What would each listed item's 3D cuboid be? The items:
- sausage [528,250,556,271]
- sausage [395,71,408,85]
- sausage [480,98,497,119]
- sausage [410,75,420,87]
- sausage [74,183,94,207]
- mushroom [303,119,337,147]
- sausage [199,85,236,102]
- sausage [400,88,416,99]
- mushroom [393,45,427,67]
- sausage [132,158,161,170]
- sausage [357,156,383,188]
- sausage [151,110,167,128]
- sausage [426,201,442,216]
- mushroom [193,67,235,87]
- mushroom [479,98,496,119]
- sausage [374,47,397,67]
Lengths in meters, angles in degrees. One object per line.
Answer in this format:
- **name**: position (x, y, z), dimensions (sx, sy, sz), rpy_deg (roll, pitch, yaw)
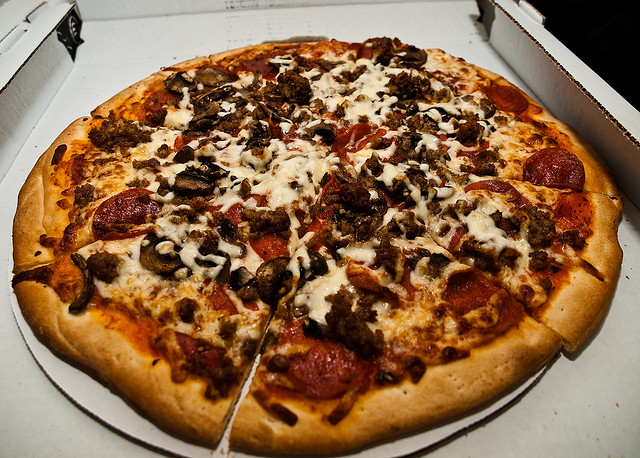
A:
- **sausage**: position (1.816, 0.260, 4.821), dimensions (0.167, 0.045, 0.160), rpy_deg (20, 88, -4)
- **sausage**: position (0.837, -1.548, 5.975), dimensions (0.097, 0.038, 0.144), rpy_deg (17, 66, 32)
- **sausage**: position (1.687, -1.218, 5.894), dimensions (0.182, 0.060, 0.183), rpy_deg (-31, 64, -11)
- **sausage**: position (0.973, -1.521, 5.955), dimensions (0.101, 0.096, 0.030), rpy_deg (14, 20, -15)
- **sausage**: position (-2.089, -0.307, 5.152), dimensions (0.156, 0.084, 0.190), rpy_deg (3, 29, -7)
- **mushroom**: position (0.047, -0.925, 5.684), dimensions (0.286, 0.307, 0.089), rpy_deg (24, 42, -5)
- **sausage**: position (-1.043, -1.394, 5.935), dimensions (0.343, 0.093, 0.126), rpy_deg (-33, 69, -16)
- **sausage**: position (0.917, -1.386, 5.993), dimensions (0.109, 0.031, 0.111), rpy_deg (-34, 99, 5)
- **mushroom**: position (1.040, -1.956, 6.554), dimensions (0.304, 0.083, 0.303), rpy_deg (-16, 44, -27)
- **sausage**: position (-1.594, -0.598, 5.311), dimensions (0.183, 0.052, 0.105), rpy_deg (6, 43, 6)
- **sausage**: position (0.454, -0.517, 5.245), dimensions (0.195, 0.079, 0.309), rpy_deg (22, 72, 18)
- **sausage**: position (-1.582, -1.082, 5.845), dimensions (0.165, 0.055, 0.166), rpy_deg (34, 70, 34)
- **sausage**: position (0.987, -0.183, 5.057), dimensions (0.100, 0.035, 0.105), rpy_deg (4, 49, 10)
- **mushroom**: position (-1.145, -1.620, 6.215), dimensions (0.299, 0.083, 0.234), rpy_deg (-13, 44, -35)
- **mushroom**: position (1.691, -1.240, 5.871), dimensions (0.193, 0.063, 0.193), rpy_deg (13, 58, 20)
- **sausage**: position (0.727, -1.904, 6.425), dimensions (0.200, 0.054, 0.199), rpy_deg (39, 95, -15)
